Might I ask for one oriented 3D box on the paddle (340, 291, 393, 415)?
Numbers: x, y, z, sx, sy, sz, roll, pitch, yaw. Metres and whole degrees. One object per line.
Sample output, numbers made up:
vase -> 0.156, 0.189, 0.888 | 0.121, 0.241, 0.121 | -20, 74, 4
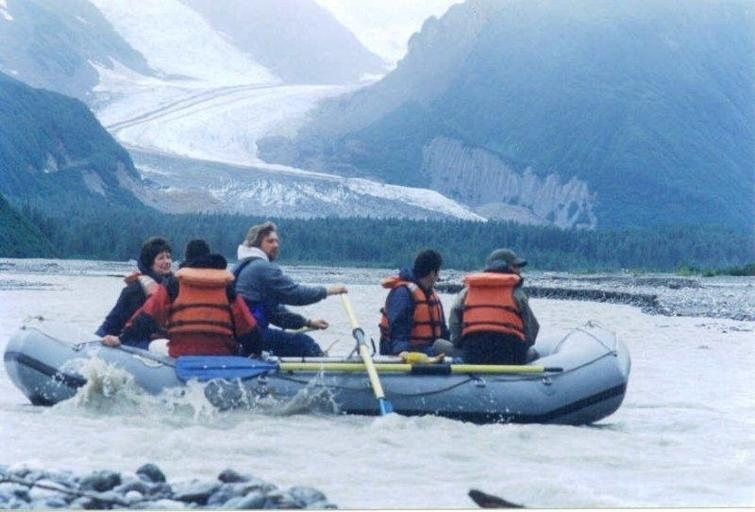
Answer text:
paddle -> -0.594, 5.364, 56.104 | 1.032, 6.365, 1.125 | -21, -20, 2
